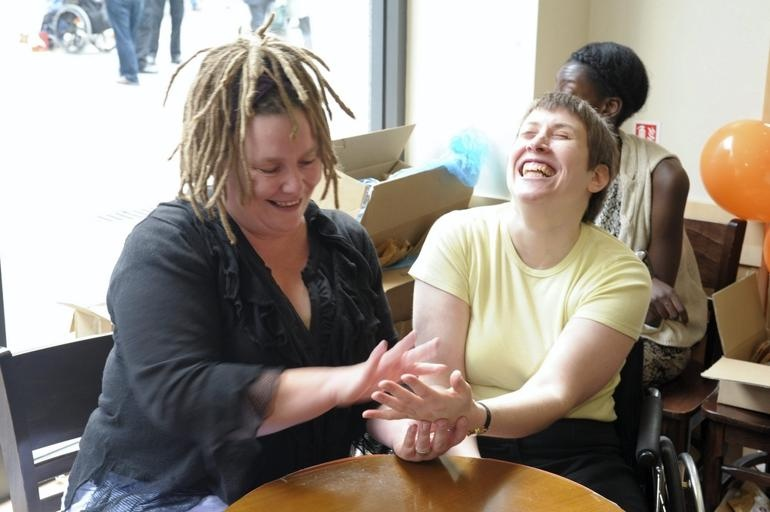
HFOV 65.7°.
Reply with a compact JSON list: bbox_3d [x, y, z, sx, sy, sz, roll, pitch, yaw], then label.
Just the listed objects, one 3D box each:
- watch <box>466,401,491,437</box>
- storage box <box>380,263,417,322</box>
[{"bbox_3d":[0.253,0.425,1.545,0.034,0.075,0.077,1,29,-26],"label":"watch"},{"bbox_3d":[0.051,0.154,2.364,0.193,0.185,0.136,-23,26,-30],"label":"storage box"}]
